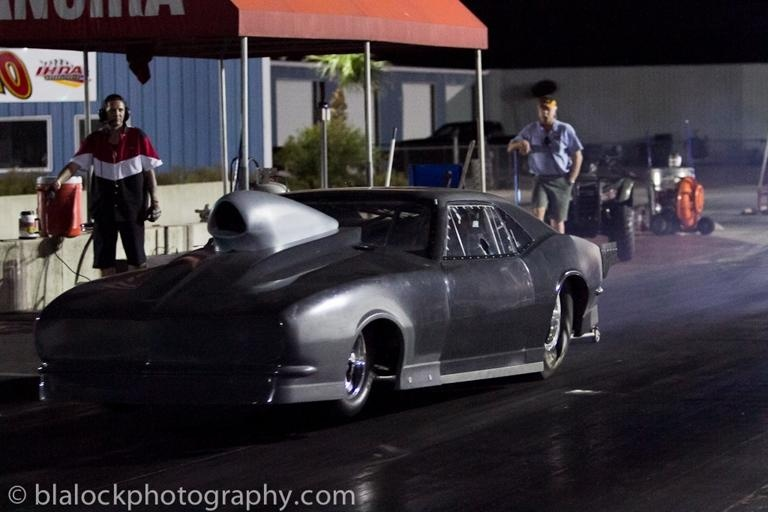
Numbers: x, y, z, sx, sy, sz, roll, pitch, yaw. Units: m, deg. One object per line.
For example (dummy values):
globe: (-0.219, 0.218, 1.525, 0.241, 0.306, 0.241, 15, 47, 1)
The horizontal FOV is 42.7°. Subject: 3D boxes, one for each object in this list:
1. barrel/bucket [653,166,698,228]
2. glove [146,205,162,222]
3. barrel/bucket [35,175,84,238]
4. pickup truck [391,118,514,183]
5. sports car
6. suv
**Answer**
barrel/bucket: (5.698, -1.194, 19.326, 1.474, 1.262, 0.512, -6, 9, -38)
glove: (-2.488, -0.493, 10.639, 0.143, 0.211, 0.206, 8, 15, 15)
barrel/bucket: (-3.895, -0.632, 11.892, 0.685, 0.813, 0.709, 0, 2, 0)
pickup truck: (2.239, -3.160, 28.074, 3.547, 1.944, 2.146, 0, 7, -11)
sports car: (-0.140, 0.313, 7.813, 2.069, 1.264, 3.529, -2, -1, 37)
suv: (4.010, -0.950, 17.584, 1.264, 1.295, 2.408, -1, 3, 13)
